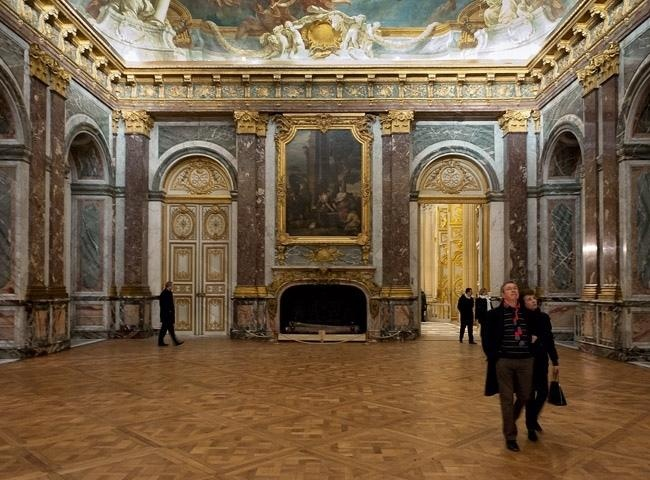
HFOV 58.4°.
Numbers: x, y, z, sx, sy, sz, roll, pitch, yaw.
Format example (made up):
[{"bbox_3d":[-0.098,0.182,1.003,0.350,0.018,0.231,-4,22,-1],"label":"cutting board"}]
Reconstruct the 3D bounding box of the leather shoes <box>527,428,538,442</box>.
[{"bbox_3d":[3.065,2.842,8.593,0.082,0.163,0.244,2,5,22],"label":"leather shoes"}]

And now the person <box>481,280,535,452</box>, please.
[{"bbox_3d":[2.632,1.762,8.322,0.745,2.433,0.389,1,0,7],"label":"person"}]

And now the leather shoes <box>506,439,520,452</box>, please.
[{"bbox_3d":[2.647,2.853,8.173,0.179,0.157,0.106,1,0,15],"label":"leather shoes"}]

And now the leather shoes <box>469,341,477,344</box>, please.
[{"bbox_3d":[4.500,3.063,17.583,0.229,0.151,0.083,-2,3,-4],"label":"leather shoes"}]
